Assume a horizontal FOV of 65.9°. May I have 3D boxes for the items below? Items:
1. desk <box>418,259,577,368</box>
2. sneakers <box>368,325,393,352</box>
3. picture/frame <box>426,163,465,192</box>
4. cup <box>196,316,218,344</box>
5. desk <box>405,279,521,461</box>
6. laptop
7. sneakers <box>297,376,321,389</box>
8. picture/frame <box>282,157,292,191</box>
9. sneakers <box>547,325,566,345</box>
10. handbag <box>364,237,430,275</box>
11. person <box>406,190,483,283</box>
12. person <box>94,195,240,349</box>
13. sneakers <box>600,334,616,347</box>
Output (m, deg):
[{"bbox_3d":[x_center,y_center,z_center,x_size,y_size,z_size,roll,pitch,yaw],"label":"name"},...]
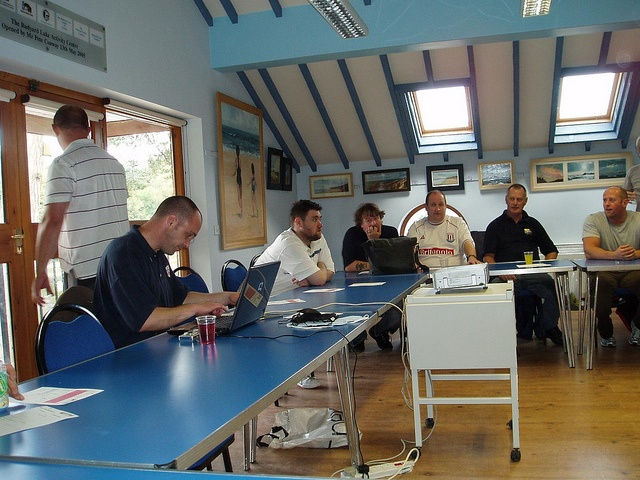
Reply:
[{"bbox_3d":[1.702,0.701,4.325,1.099,1.031,0.880,0,6,21],"label":"desk"},{"bbox_3d":[0.605,0.945,4.857,0.166,0.393,0.144,-8,23,8],"label":"sneakers"},{"bbox_3d":[2.026,-0.989,7.866,0.761,0.560,0.051,-1,2,14],"label":"picture/frame"},{"bbox_3d":[-0.498,0.399,2.252,0.138,0.138,0.101,-1,-11,-8],"label":"cup"},{"bbox_3d":[0.782,0.718,3.205,0.856,1.152,0.847,-2,2,14],"label":"desk"},{"bbox_3d":[-0.467,0.237,2.488,0.384,0.257,0.422,-2,1,17],"label":"laptop"},{"bbox_3d":[-0.080,1.149,4.011,0.174,0.085,0.235,0,-2,-2],"label":"sneakers"},{"bbox_3d":[-0.544,-1.053,8.038,0.115,0.524,0.459,-3,3,11],"label":"picture/frame"},{"bbox_3d":[2.269,0.923,4.811,0.109,0.135,0.319,-7,0,-14],"label":"sneakers"},{"bbox_3d":[0.642,0.133,4.464,0.439,0.332,0.294,-4,9,-1],"label":"handbag"},{"bbox_3d":[1.136,-0.014,4.989,0.768,0.935,0.651,-2,-11,4],"label":"person"},{"bbox_3d":[-0.813,0.134,2.959,0.783,1.270,0.758,1,1,-1],"label":"person"},{"bbox_3d":[2.634,0.922,4.495,0.064,0.067,0.151,0,3,10],"label":"sneakers"}]
